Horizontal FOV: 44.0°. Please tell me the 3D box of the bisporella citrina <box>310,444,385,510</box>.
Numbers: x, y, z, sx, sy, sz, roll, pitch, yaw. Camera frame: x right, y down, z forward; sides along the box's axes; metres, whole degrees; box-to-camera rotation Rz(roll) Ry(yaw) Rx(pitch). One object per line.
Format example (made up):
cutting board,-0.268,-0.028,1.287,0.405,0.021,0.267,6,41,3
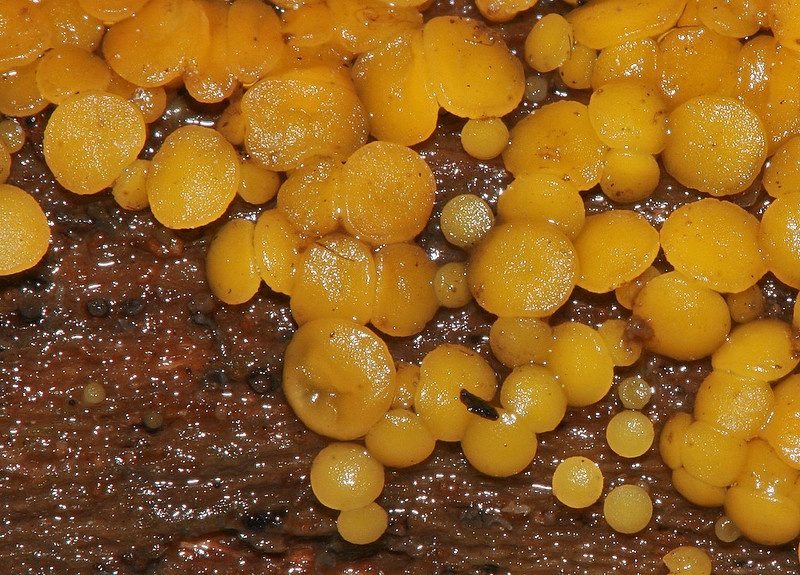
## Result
bisporella citrina,-0.186,0.669,3.492,0.251,0.112,0.236,-1,80,2
